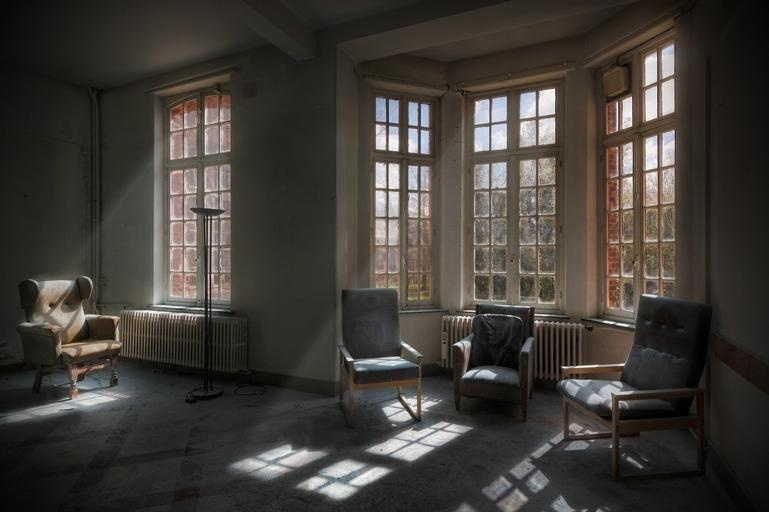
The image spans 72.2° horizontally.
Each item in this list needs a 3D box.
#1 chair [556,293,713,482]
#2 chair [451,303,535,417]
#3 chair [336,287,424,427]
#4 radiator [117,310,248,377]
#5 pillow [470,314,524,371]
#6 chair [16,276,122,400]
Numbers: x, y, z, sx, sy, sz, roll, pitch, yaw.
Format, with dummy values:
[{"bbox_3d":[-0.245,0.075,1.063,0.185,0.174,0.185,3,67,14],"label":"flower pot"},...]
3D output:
[{"bbox_3d":[2.597,1.294,5.620,1.365,1.668,1.403,-3,2,-20],"label":"chair"},{"bbox_3d":[1.359,1.253,6.498,0.912,1.113,1.017,5,14,18],"label":"chair"},{"bbox_3d":[-0.071,1.172,6.428,0.990,1.417,1.237,-2,13,-7],"label":"chair"},{"bbox_3d":[-3.110,1.196,7.699,2.059,0.761,0.358,4,-6,17],"label":"radiator"},{"bbox_3d":[1.394,1.069,6.571,0.636,0.653,0.198,3,-5,19],"label":"pillow"},{"bbox_3d":[-4.135,1.042,6.951,0.889,1.429,1.051,4,3,16],"label":"chair"}]
